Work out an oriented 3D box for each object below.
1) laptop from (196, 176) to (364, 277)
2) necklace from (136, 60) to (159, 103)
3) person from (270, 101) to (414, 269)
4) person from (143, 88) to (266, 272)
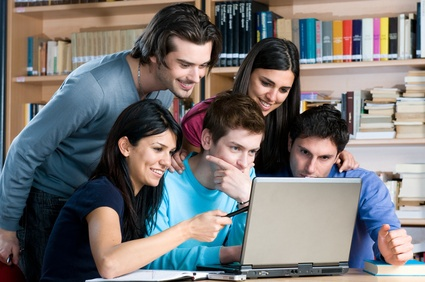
[{"bbox_3d":[0.350,0.349,1.830,0.411,0.350,0.449,3,-6,-20],"label":"laptop"},{"bbox_3d":[-0.368,-0.328,2.338,0.139,0.148,0.034,12,3,-1],"label":"necklace"},{"bbox_3d":[0.687,0.196,2.296,0.756,1.065,0.756,5,-14,3],"label":"person"},{"bbox_3d":[-0.002,0.231,2.178,0.551,0.879,0.662,8,8,-38],"label":"person"}]
